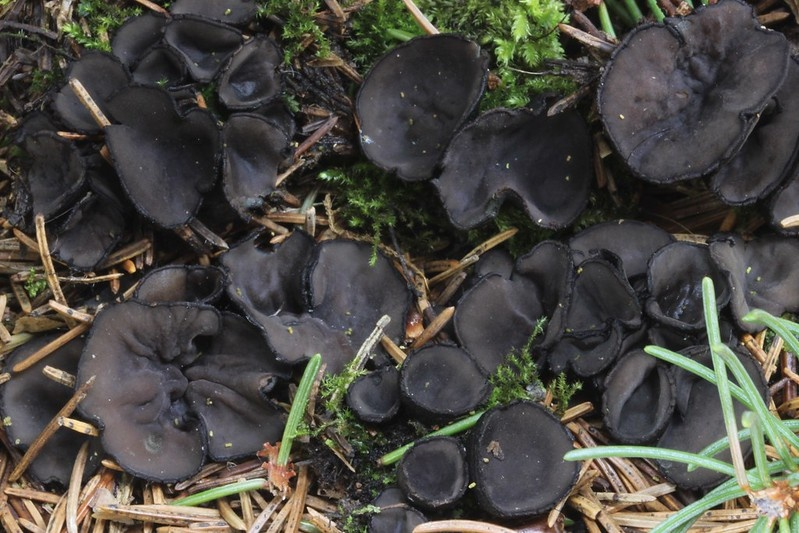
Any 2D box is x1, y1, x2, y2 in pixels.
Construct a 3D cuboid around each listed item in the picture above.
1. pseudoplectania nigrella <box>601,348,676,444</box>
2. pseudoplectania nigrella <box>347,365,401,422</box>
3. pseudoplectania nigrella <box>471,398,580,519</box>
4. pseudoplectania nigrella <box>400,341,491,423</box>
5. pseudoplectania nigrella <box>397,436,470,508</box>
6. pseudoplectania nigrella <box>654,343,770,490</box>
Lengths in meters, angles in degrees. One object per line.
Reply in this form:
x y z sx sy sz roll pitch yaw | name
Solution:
1.353 0.730 4.840 0.403 0.515 0.183 21 5 3 | pseudoplectania nigrella
-0.147 0.706 4.821 0.305 0.271 0.308 15 25 -9 | pseudoplectania nigrella
0.668 1.043 4.645 0.591 0.630 0.247 -7 -7 -9 | pseudoplectania nigrella
0.241 0.666 4.767 0.496 0.379 0.305 22 25 6 | pseudoplectania nigrella
0.199 1.094 4.598 0.349 0.371 0.147 -13 -15 -2 | pseudoplectania nigrella
1.768 0.859 4.809 0.571 0.768 0.433 13 25 -12 | pseudoplectania nigrella
